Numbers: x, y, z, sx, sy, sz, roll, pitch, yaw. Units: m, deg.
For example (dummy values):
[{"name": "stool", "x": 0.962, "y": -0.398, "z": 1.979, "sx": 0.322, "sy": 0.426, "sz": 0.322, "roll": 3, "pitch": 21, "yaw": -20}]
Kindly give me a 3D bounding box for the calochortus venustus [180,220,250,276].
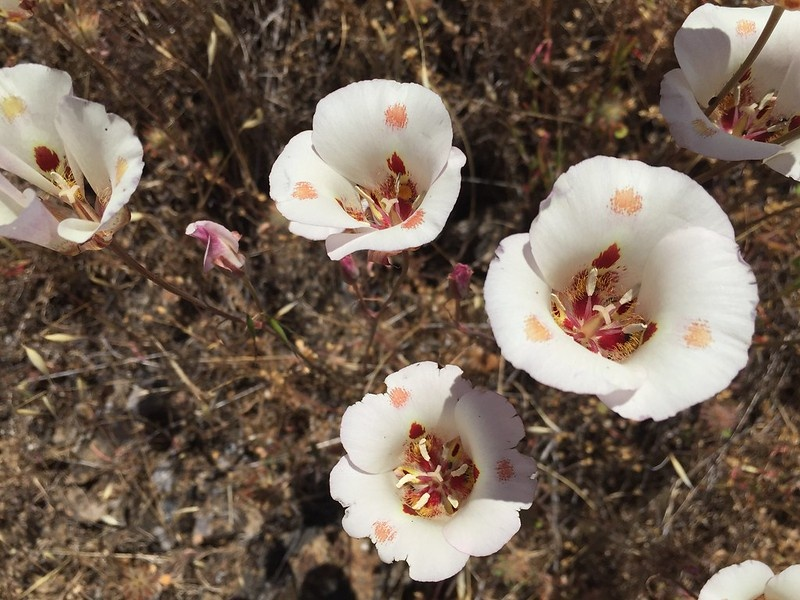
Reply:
[{"name": "calochortus venustus", "x": -0.882, "y": -0.266, "z": 3.578, "sx": 0.259, "sy": 0.259, "sz": 0.243, "roll": 38, "pitch": -82, "yaw": -24}]
